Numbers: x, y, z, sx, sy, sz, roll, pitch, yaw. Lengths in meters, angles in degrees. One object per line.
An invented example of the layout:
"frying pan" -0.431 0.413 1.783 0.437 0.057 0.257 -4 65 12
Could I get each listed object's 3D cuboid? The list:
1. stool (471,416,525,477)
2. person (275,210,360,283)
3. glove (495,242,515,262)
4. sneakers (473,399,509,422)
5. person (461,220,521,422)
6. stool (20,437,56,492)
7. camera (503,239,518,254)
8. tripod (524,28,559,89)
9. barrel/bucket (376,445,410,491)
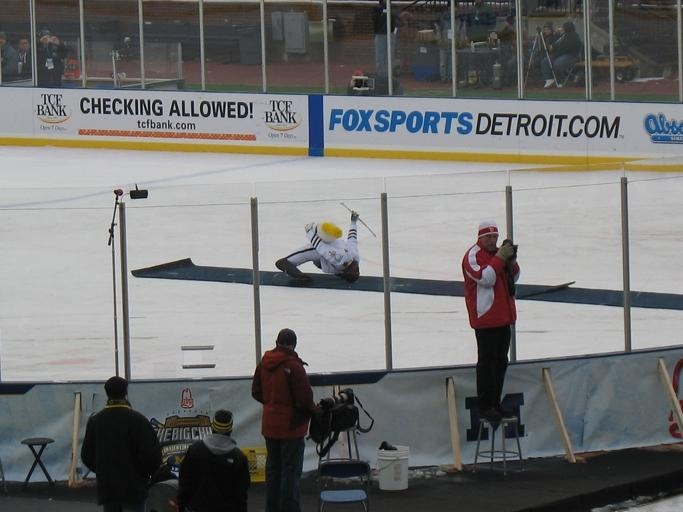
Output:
"stool" 2.248 2.637 28.316 0.810 0.930 0.779 -2 0 37
"person" -0.513 -0.066 29.134 1.588 1.054 0.677 6 3 21
"glove" 2.359 -0.092 28.220 0.213 0.231 0.272 2 19 4
"sneakers" 2.147 2.165 28.134 0.449 0.171 0.233 -1 20 12
"person" 2.213 0.893 28.494 1.019 2.764 1.056 -4 -2 17
"stool" -4.301 2.856 28.027 0.455 0.670 0.399 -4 6 -7
"camera" 2.456 -0.167 28.316 0.201 0.080 0.191 5 28 -38
"tripod" 3.995 -3.939 39.180 0.708 1.178 0.187 -3 6 4
"barrel/bucket" 0.741 2.930 27.778 0.603 0.547 0.532 -1 3 2
